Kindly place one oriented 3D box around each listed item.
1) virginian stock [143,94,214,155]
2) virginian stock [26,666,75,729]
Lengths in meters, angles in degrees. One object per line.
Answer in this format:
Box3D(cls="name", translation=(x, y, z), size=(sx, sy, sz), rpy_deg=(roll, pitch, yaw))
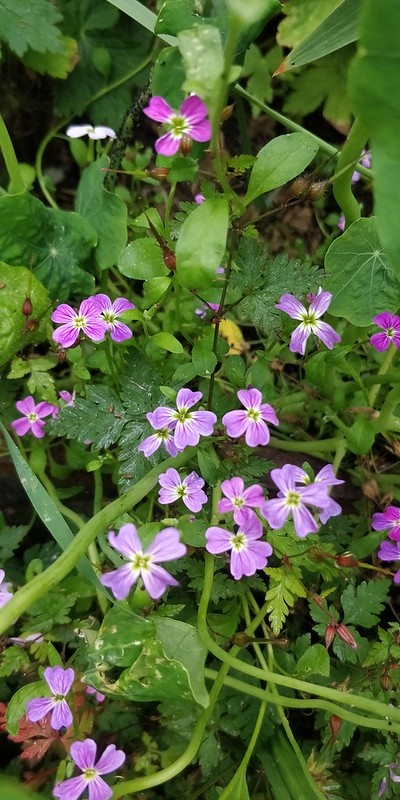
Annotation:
Box3D(cls="virginian stock", translation=(-0.029, -0.407, 0.899), size=(0.086, 0.102, 0.036), rpy_deg=(0, -4, 27))
Box3D(cls="virginian stock", translation=(-0.264, 0.551, 1.077), size=(0.079, 0.144, 0.078), rpy_deg=(7, 40, 3))
